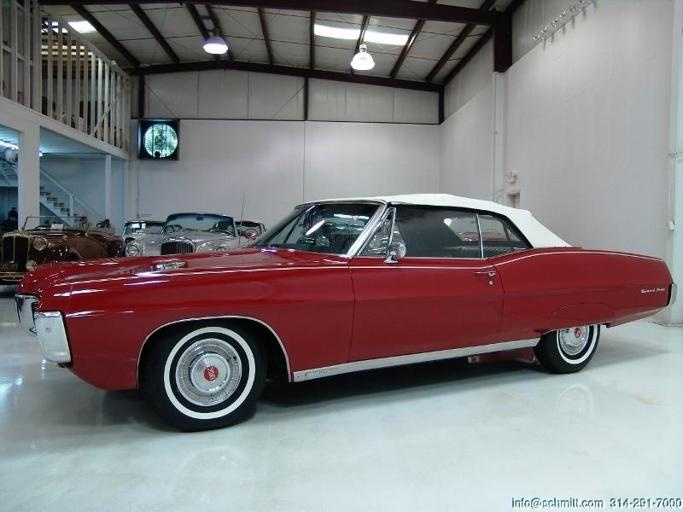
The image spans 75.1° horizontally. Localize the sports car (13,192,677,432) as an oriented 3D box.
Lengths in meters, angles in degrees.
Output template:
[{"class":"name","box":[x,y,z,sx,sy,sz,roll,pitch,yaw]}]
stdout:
[{"class":"sports car","box":[0.143,0.348,3.465,4.051,1.158,1.826,1,-2,-22]}]
